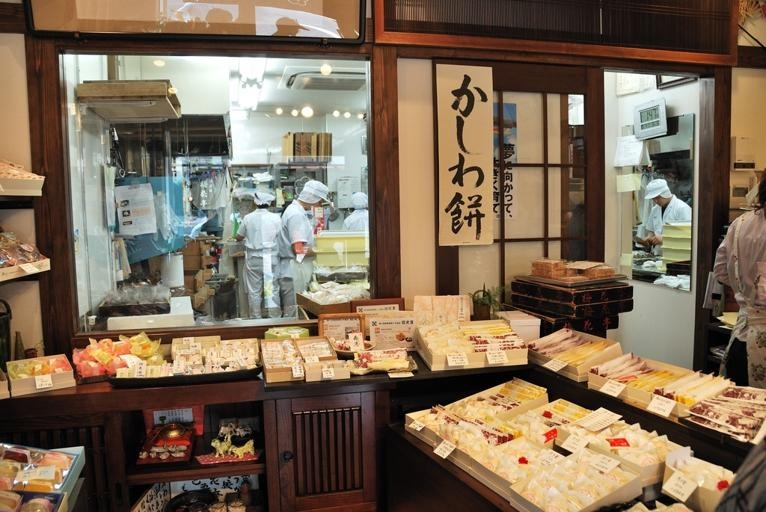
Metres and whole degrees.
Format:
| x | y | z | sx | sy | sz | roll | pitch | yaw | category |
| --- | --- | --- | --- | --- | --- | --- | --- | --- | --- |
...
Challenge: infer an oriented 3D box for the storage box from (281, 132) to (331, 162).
| x | y | z | sx | sy | sz | roll | pitch | yaw | category |
| --- | --- | --- | --- | --- | --- | --- | --- | --- | --- |
| -0.557 | -0.775 | 4.014 | 0.251 | 0.261 | 0.159 | -1 | 7 | 2 | storage box |

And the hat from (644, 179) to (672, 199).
| x | y | z | sx | sy | sz | roll | pitch | yaw | category |
| --- | --- | --- | --- | --- | --- | --- | --- | --- | --- |
| 2.779 | -0.668 | 5.739 | 0.253 | 0.202 | 0.120 | 1 | 10 | 33 | hat |

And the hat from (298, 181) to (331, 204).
| x | y | z | sx | sy | sz | roll | pitch | yaw | category |
| --- | --- | --- | --- | --- | --- | --- | --- | --- | --- |
| -0.510 | -0.460 | 4.186 | 0.197 | 0.120 | 0.137 | 16 | 9 | 4 | hat |

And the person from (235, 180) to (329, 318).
| x | y | z | sx | sy | sz | roll | pitch | yaw | category |
| --- | --- | --- | --- | --- | --- | --- | --- | --- | --- |
| -0.596 | -0.062 | 4.129 | 0.465 | 0.951 | 0.205 | -6 | 8 | -10 | person |

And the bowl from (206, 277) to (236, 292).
| x | y | z | sx | sy | sz | roll | pitch | yaw | category |
| --- | --- | --- | --- | --- | --- | --- | --- | --- | --- |
| -1.158 | 0.205 | 4.053 | 0.193 | 0.094 | 0.045 | -5 | 8 | -2 | bowl |

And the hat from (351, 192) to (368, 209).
| x | y | z | sx | sy | sz | roll | pitch | yaw | category |
| --- | --- | --- | --- | --- | --- | --- | --- | --- | --- |
| -0.173 | -0.390 | 4.006 | 0.104 | 0.090 | 0.113 | 2 | 13 | 0 | hat |

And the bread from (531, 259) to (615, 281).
| x | y | z | sx | sy | sz | roll | pitch | yaw | category |
| --- | --- | --- | --- | --- | --- | --- | --- | --- | --- |
| 1.394 | 0.097 | 4.152 | 0.592 | 0.153 | 0.247 | -4 | 9 | 7 | bread |
